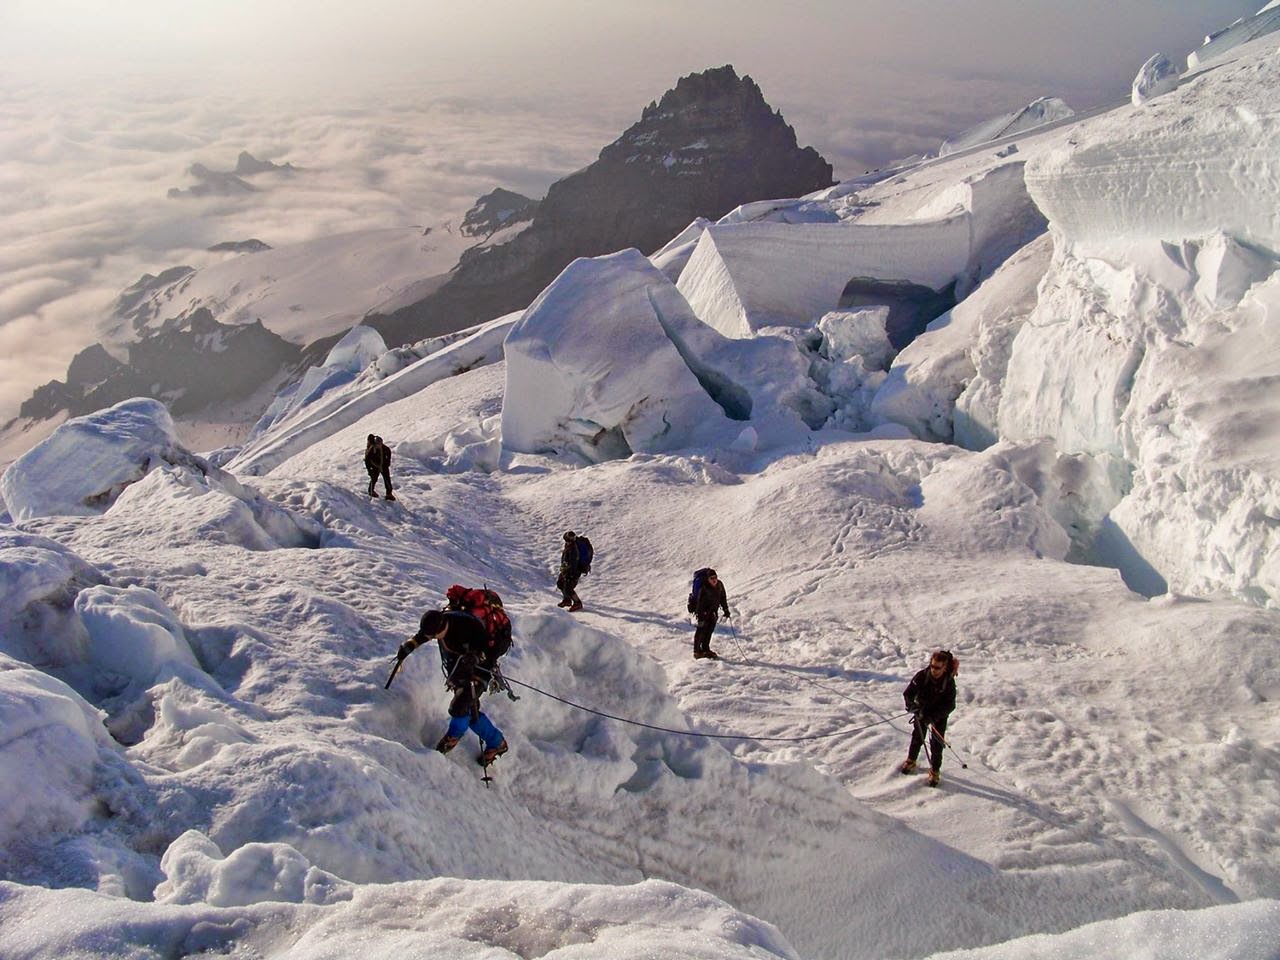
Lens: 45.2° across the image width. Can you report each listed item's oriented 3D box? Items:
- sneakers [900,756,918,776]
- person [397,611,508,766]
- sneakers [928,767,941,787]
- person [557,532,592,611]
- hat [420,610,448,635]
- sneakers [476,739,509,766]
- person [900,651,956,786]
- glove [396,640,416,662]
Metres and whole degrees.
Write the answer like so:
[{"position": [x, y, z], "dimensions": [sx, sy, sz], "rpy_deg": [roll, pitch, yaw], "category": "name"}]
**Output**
[{"position": [3.791, 4.038, 21.552], "dimensions": [0.136, 0.263, 0.277], "rpy_deg": [5, 61, 9], "category": "sneakers"}, {"position": [-2.519, 2.794, 20.235], "dimensions": [1.306, 2.169, 0.946], "rpy_deg": [-19, 36, -30], "category": "person"}, {"position": [4.107, 4.131, 21.323], "dimensions": [0.075, 0.235, 0.217], "rpy_deg": [-9, 15, -17], "category": "sneakers"}, {"position": [-1.146, 1.624, 26.248], "dimensions": [0.689, 1.296, 0.433], "rpy_deg": [-7, 52, -10], "category": "person"}, {"position": [-2.707, 1.855, 19.738], "dimensions": [0.256, 0.316, 0.334], "rpy_deg": [13, 27, 23], "category": "hat"}, {"position": [-1.931, 3.607, 20.441], "dimensions": [0.528, 0.263, 0.199], "rpy_deg": [-19, 12, 1], "category": "sneakers"}, {"position": [4.014, 3.302, 21.256], "dimensions": [0.662, 1.954, 0.996], "rpy_deg": [4, 39, 10], "category": "person"}, {"position": [-3.085, 2.186, 20.001], "dimensions": [0.244, 0.258, 0.076], "rpy_deg": [-48, 39, 13], "category": "glove"}]
